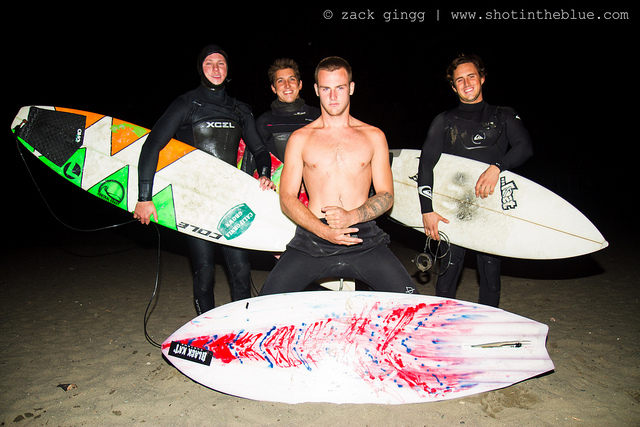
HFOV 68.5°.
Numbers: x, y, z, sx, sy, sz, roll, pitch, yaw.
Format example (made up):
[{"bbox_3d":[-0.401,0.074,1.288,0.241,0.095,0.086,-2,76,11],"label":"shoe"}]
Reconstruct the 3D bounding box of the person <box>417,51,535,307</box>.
[{"bbox_3d":[1.834,-0.238,5.770,1.195,3.309,1.244,5,16,20],"label":"person"}]

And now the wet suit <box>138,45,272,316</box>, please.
[{"bbox_3d":[-1.303,-0.372,5.533,1.556,3.114,1.108,-6,16,-20],"label":"wet suit"}]

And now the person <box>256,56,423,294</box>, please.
[{"bbox_3d":[0.182,-0.269,5.007,1.366,2.691,1.017,3,15,11],"label":"person"}]
